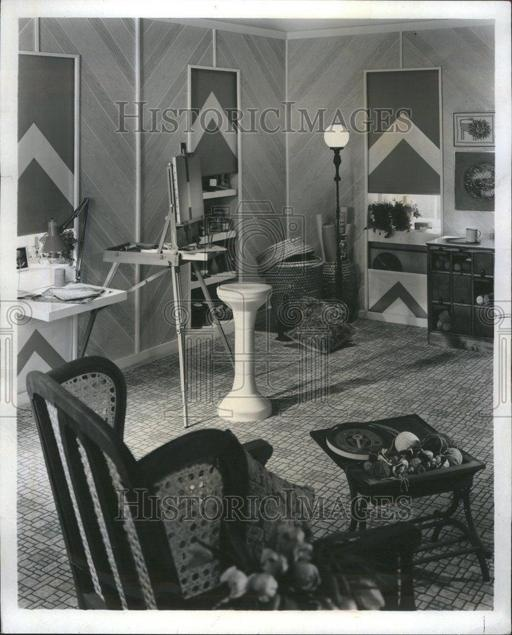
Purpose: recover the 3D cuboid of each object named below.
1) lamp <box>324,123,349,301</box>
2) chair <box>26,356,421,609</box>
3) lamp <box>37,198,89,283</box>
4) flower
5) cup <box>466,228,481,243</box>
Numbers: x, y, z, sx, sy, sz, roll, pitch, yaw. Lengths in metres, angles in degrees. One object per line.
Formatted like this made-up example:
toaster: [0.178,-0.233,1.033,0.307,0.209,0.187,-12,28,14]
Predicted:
lamp: [0.362,-0.462,2.598,0.109,0.759,0.171,-3,4,0]
chair: [-0.060,0.608,2.069,0.795,1.016,0.697,-16,19,-37]
lamp: [-0.930,-0.378,2.838,0.212,0.297,0.106,-3,8,-22]
flower: [0.153,0.850,2.044,0.496,0.169,0.499,-9,4,-25]
cup: [0.951,-0.362,2.559,0.080,0.069,0.049,5,16,31]
